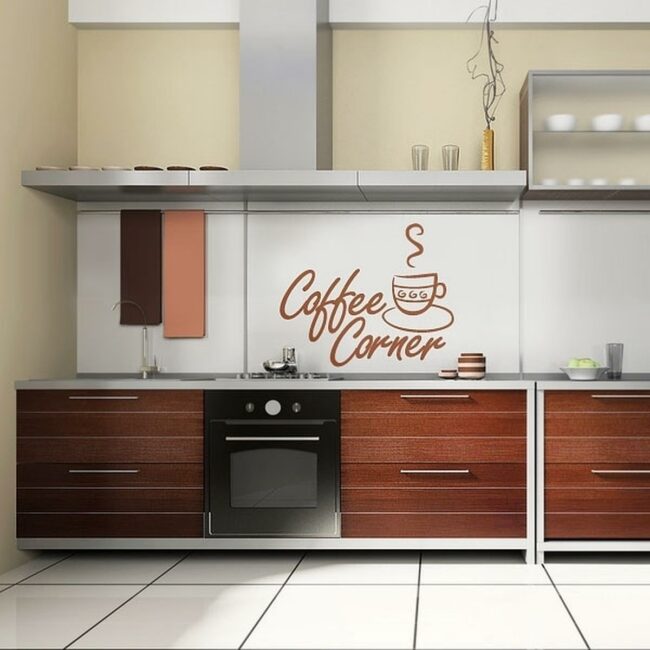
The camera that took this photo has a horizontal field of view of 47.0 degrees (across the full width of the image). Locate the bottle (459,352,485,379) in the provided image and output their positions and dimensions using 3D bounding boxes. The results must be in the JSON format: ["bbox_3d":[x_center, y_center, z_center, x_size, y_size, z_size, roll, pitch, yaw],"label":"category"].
[{"bbox_3d":[0.789,0.219,3.996,0.146,0.133,0.124,0,2,5],"label":"bottle"}]

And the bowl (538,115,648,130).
[{"bbox_3d":[1.485,-1.108,4.044,0.550,0.103,0.031,0,2,3],"label":"bowl"}]

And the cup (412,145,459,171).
[{"bbox_3d":[0.635,-0.975,4.261,0.249,0.137,0.088,0,-2,-3],"label":"cup"}]

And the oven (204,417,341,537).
[{"bbox_3d":[-0.152,0.766,3.937,0.804,0.653,0.544,-5,-11,24],"label":"oven"}]

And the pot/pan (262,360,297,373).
[{"bbox_3d":[-0.245,0.240,4.168,0.163,0.065,0.157,0,3,17],"label":"pot/pan"}]

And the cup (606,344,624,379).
[{"bbox_3d":[1.564,0.195,4.014,0.084,0.185,0.160,0,2,20],"label":"cup"}]

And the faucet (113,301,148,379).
[{"bbox_3d":[-1.104,0.073,4.346,0.160,0.467,0.335,-2,3,-33],"label":"faucet"}]

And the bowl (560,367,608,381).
[{"bbox_3d":[1.413,0.259,4.040,0.216,0.091,0.411,0,3,22],"label":"bowl"}]
